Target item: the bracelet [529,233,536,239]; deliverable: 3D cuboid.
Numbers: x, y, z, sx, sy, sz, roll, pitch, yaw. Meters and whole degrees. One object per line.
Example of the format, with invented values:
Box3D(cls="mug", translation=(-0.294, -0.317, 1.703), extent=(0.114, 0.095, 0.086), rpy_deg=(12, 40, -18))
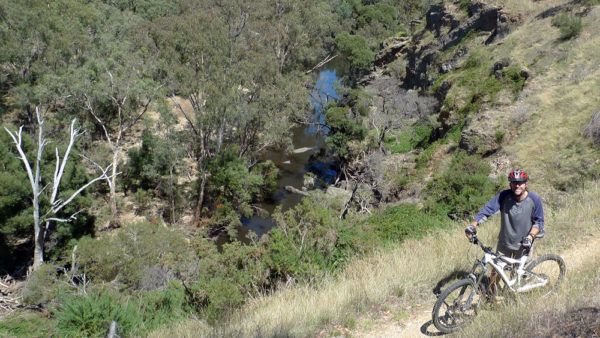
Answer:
Box3D(cls="bracelet", translation=(16.811, 4.908, 37.267), extent=(0.400, 0.280, 0.377), rpy_deg=(28, -7, 30))
